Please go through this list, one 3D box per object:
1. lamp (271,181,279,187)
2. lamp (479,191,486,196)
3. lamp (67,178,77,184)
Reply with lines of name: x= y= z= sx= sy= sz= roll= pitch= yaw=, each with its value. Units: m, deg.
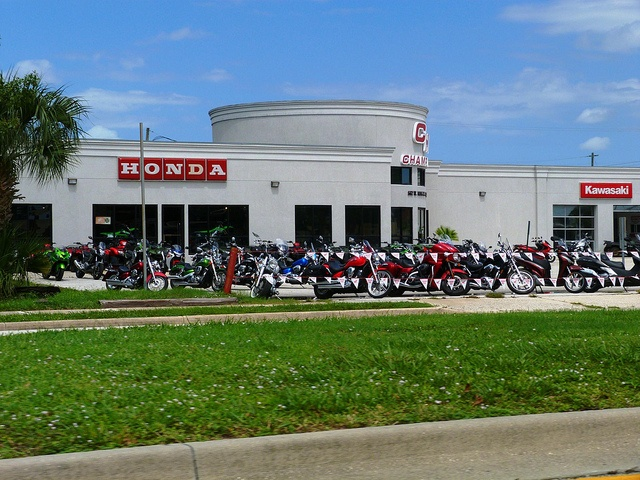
lamp: x=-1.974 y=-2.458 z=37.700 sx=0.362 sy=0.231 sz=0.240 roll=1 pitch=42 yaw=-9
lamp: x=9.054 y=-2.511 z=46.997 sx=0.352 sy=0.322 sz=0.246 roll=-1 pitch=6 yaw=3
lamp: x=-10.231 y=-2.388 z=35.013 sx=0.288 sy=0.250 sz=0.184 roll=0 pitch=1 yaw=-12
